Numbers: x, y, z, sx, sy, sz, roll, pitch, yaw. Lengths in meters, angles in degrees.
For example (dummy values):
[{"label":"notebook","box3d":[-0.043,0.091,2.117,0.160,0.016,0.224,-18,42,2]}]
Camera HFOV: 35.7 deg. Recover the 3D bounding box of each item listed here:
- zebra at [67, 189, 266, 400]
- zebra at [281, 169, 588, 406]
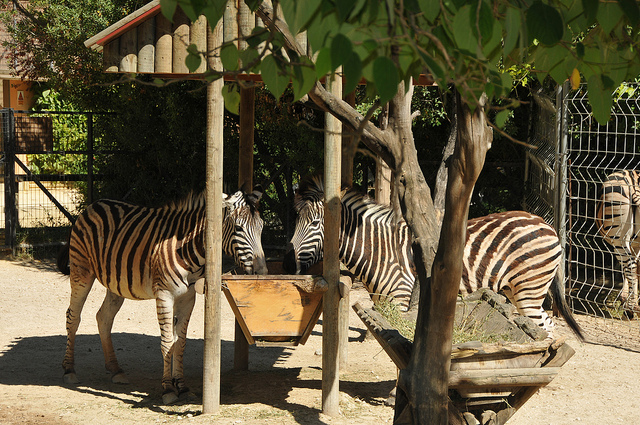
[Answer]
[{"label":"zebra","box3d":[-2.284,0.957,13.421,3.361,3.016,0.896,3,7,30]},{"label":"zebra","box3d":[1.731,0.936,14.160,4.226,3.422,1.193,-3,22,1]}]
